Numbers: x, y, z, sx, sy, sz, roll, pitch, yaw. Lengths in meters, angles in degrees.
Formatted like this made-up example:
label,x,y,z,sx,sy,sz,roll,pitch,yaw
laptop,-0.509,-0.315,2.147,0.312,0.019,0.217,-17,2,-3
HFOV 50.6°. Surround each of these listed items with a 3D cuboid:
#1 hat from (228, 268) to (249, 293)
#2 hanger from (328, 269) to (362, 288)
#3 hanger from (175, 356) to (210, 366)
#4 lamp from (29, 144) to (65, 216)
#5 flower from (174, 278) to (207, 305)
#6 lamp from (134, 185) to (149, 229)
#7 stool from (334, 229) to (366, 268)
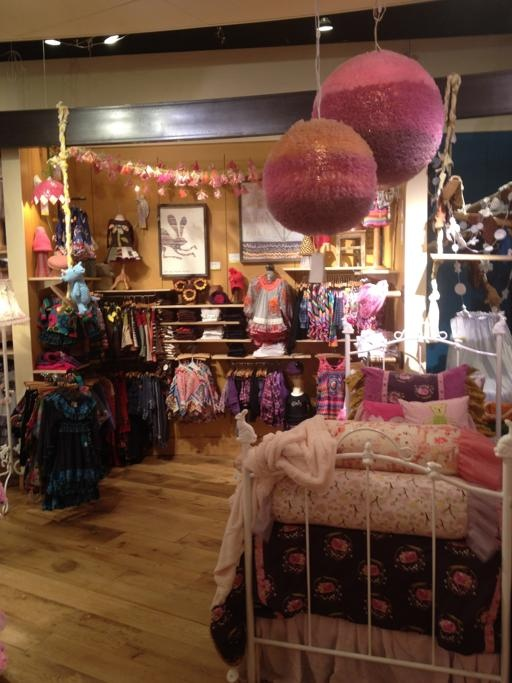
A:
label,x,y,z,sx,sy,sz,roll,pitch,yaw
hat,-0.171,-0.608,5.210,0.186,0.231,0.170,-2,4,-3
hanger,0.798,-0.570,4.874,0.322,0.161,0.307,-2,4,7
hanger,-0.611,0.158,5.212,0.366,0.067,0.085,-2,-22,8
lamp,-1.752,-1.345,4.525,0.246,0.550,0.610,-4,4,-21
flower,-0.619,-0.494,5.243,0.332,0.246,0.220,-2,4,-4
lamp,-1.103,-1.324,5.292,0.120,0.429,0.120,-3,4,-11
stool,0.861,-0.826,4.986,0.361,0.468,0.358,0,2,6
